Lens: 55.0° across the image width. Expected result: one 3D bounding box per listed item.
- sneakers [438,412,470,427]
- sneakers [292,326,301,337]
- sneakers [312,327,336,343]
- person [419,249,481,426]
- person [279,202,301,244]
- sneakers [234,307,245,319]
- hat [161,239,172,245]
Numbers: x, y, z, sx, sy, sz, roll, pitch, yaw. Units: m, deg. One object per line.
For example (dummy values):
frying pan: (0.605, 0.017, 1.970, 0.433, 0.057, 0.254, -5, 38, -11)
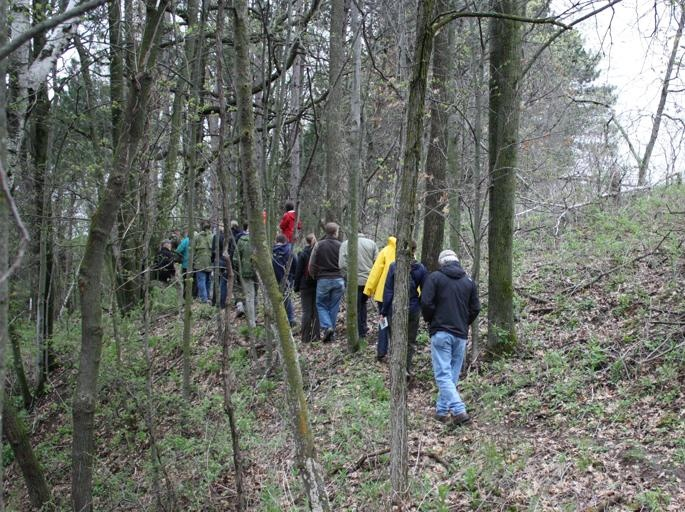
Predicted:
sneakers: (1.921, 2.824, 11.328, 0.202, 0.283, 0.555, 1, -15, -41)
sneakers: (-1.057, 1.755, 15.361, 0.210, 0.190, 0.196, 4, -1, -43)
sneakers: (-0.383, 1.795, 14.560, 0.212, 0.300, 0.608, 8, -25, -29)
person: (1.918, 1.434, 11.752, 0.835, 3.192, 0.932, -4, -11, 37)
person: (-1.317, -0.644, 16.656, 0.479, 1.453, 0.454, 4, 16, -11)
sneakers: (-2.429, 1.361, 15.603, 0.200, 0.326, 0.286, 2, -6, -1)
hat: (-5.313, -0.422, 19.809, 0.188, 0.226, 0.164, 15, -3, 24)
